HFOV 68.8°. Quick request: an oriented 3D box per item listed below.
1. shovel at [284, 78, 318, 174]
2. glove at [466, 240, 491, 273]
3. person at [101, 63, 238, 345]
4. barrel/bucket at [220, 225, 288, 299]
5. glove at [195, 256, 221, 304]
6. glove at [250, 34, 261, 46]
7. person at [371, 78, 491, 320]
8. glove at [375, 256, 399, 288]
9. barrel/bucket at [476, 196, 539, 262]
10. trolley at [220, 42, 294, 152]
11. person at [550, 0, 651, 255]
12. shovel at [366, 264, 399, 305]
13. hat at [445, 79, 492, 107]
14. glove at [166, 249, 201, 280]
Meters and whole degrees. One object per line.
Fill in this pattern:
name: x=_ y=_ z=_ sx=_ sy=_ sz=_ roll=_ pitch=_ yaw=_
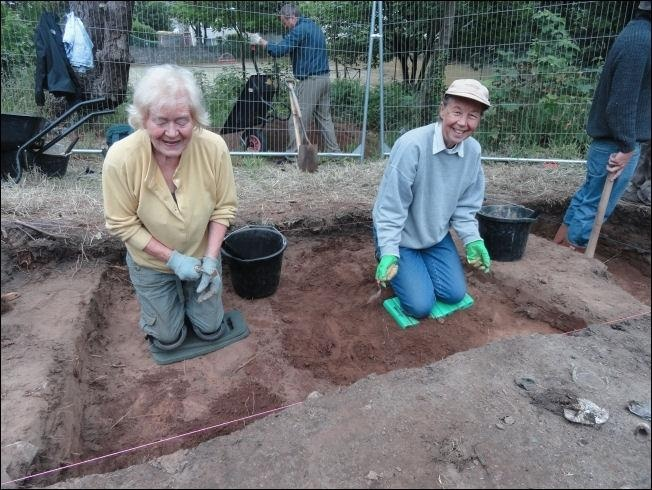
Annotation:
shovel: x=-0.320 y=-1.643 z=6.544 sx=0.392 sy=1.103 sz=0.873 roll=-2 pitch=24 yaw=-6
glove: x=1.248 y=0.103 z=3.881 sx=0.194 sy=0.261 sz=0.115 roll=18 pitch=22 yaw=29
person: x=-1.070 y=-0.187 z=3.379 sx=0.781 sy=2.029 sz=0.507 roll=4 pitch=23 yaw=8
barrel/bucket: x=-0.608 y=0.139 z=4.149 sx=0.549 sy=0.559 sz=0.609 roll=-4 pitch=28 yaw=-6
glove: x=-0.838 y=0.244 z=3.392 sx=0.187 sy=0.299 sz=0.123 roll=0 pitch=12 yaw=-5
glove: x=-0.953 y=-2.778 z=6.539 sx=0.140 sy=0.175 sz=0.134 roll=0 pitch=14 yaw=20
person: x=0.826 y=-0.293 z=3.772 sx=0.990 sy=1.935 sz=0.538 roll=-5 pitch=24 yaw=-14
glove: x=0.460 y=0.189 z=3.686 sx=0.172 sy=0.245 sz=0.100 roll=29 pitch=-8 yaw=-10
barrel/bucket: x=1.729 y=-0.182 z=4.418 sx=0.471 sy=0.578 sz=0.548 roll=-15 pitch=26 yaw=-21
trolley: x=-1.027 y=-2.090 z=6.980 sx=0.863 sy=1.704 sz=1.056 roll=1 pitch=-8 yaw=6
person: x=2.674 y=-0.966 z=4.411 sx=0.421 sy=2.300 sz=0.615 roll=-1 pitch=23 yaw=-3
shovel: x=0.510 y=0.358 z=4.118 sx=0.279 sy=0.083 sz=0.317 roll=6 pitch=53 yaw=27
hat: x=1.012 y=-1.075 z=3.391 sx=0.311 sy=0.184 sz=0.190 roll=7 pitch=25 yaw=12
glove: x=-0.967 y=0.141 z=3.276 sx=0.215 sy=0.168 sz=0.094 roll=34 pitch=-15 yaw=4
